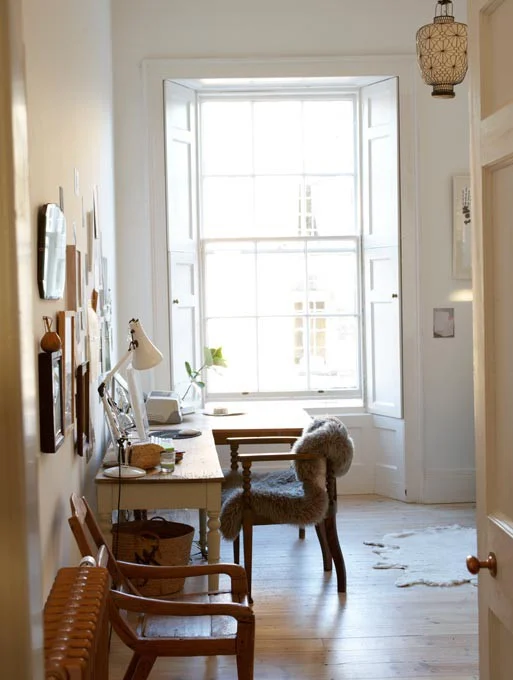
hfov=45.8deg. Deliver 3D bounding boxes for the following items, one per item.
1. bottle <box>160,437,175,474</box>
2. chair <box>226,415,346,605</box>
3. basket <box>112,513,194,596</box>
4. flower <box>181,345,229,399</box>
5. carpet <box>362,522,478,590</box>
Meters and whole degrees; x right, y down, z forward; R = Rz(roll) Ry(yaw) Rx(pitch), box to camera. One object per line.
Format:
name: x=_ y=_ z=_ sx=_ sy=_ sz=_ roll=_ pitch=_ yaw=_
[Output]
bottle: x=-0.404 y=0.524 z=2.742 sx=0.065 sy=0.153 sz=0.076 roll=0 pitch=-1 yaw=0
chair: x=0.117 y=0.807 z=3.322 sx=0.648 sy=1.117 sz=0.757 roll=1 pitch=-3 yaw=-4
basket: x=-0.468 y=1.011 z=2.910 sx=0.308 sy=0.336 sz=0.326 roll=-1 pitch=-1 yaw=3
flower: x=-0.396 y=0.221 z=4.577 sx=0.379 sy=0.287 sz=0.215 roll=-31 pitch=13 yaw=2
carpet: x=0.958 y=1.248 z=3.556 sx=0.627 sy=0.047 sz=0.924 roll=0 pitch=2 yaw=21
